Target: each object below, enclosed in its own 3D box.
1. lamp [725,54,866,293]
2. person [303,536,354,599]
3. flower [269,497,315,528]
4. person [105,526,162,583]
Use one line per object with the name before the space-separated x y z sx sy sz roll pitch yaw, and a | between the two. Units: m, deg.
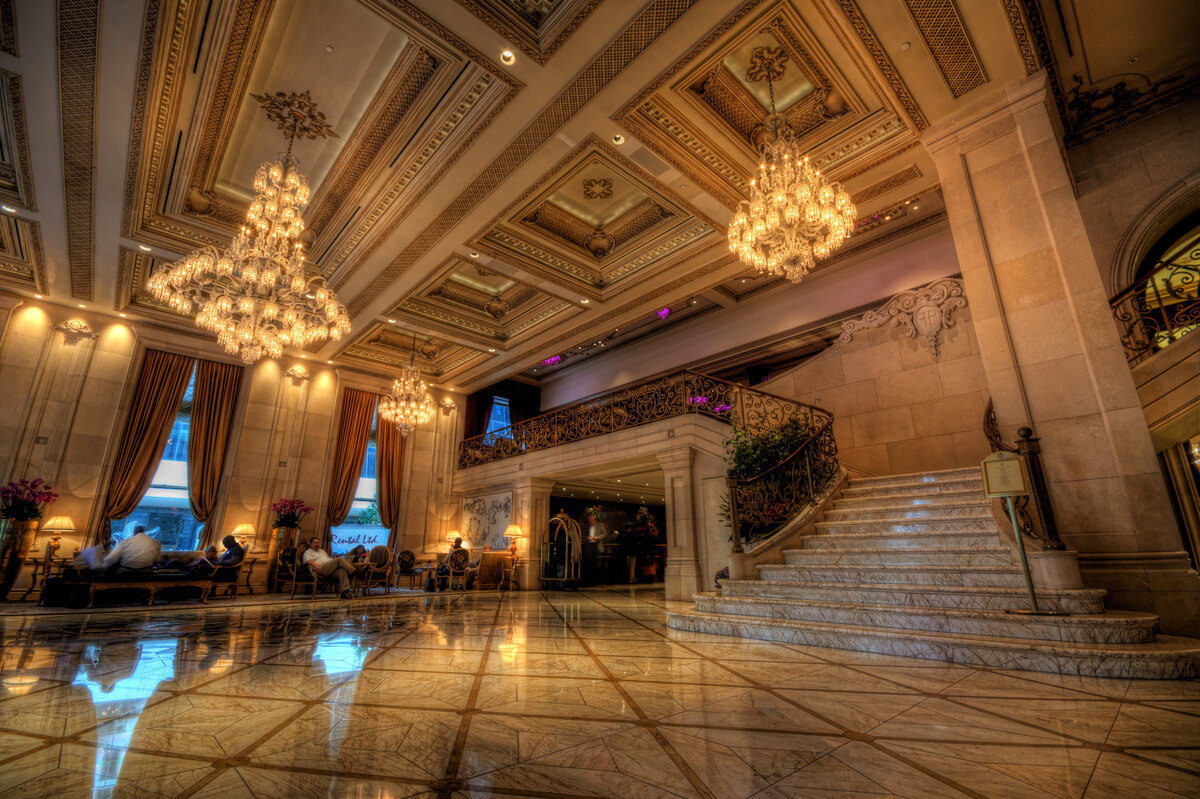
lamp | 2.961 -3.140 8.524 1.756 3.430 1.564 -4 -4 -12
person | -5.354 3.343 11.230 1.087 0.810 0.522 -3 -7 26
flower | -7.386 2.641 13.581 0.802 0.694 0.688 3 -7 -29
person | -7.762 2.423 9.542 0.651 0.819 0.579 10 10 -19
